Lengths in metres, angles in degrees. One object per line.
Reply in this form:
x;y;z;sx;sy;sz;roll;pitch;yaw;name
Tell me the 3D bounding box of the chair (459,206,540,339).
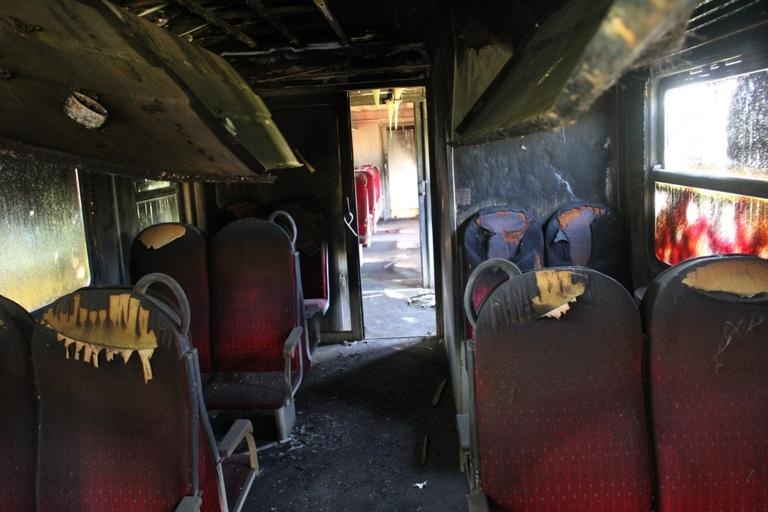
0.811;0.078;3.867;0.647;0.935;0.332;3;0;16;chair
